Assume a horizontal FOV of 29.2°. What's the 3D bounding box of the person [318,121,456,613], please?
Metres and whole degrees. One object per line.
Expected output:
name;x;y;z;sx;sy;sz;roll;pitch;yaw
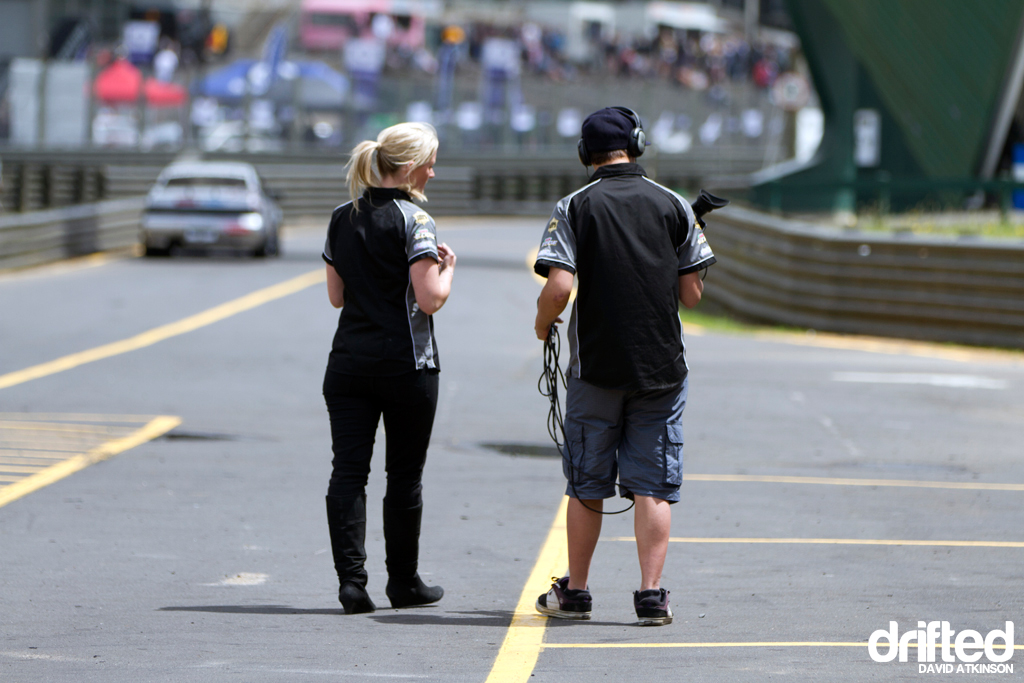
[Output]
person;-0.712;0.195;12.312;0.987;3.036;0.963;1;-2;-29

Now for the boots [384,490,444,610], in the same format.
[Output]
boots;-0.622;1.312;12.297;0.470;0.688;0.197;5;-9;-40

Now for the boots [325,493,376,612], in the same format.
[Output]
boots;-0.998;1.305;12.022;0.397;0.631;0.438;0;0;-7

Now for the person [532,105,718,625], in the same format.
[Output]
person;0.733;0.135;12.361;1.321;3.150;1.054;0;0;-3
